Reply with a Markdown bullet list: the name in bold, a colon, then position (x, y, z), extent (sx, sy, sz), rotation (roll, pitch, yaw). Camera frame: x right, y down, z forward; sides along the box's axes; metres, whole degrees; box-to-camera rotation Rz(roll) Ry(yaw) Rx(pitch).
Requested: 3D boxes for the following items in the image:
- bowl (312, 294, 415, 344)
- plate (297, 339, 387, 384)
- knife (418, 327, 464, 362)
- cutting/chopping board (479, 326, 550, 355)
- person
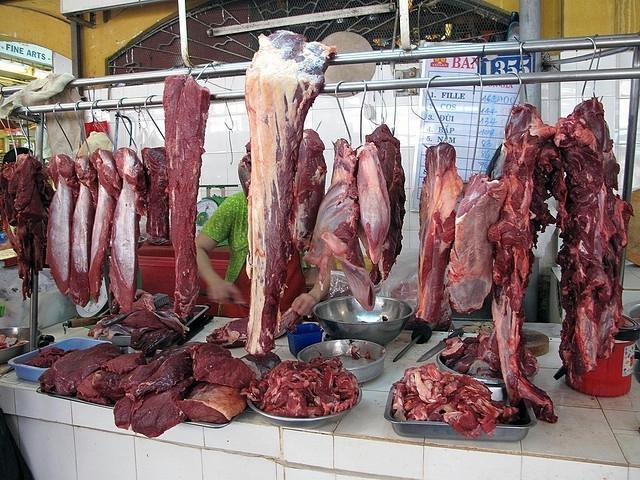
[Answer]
- **bowl**: position (0.249, 0.468, 3.139), extent (0.559, 0.205, 0.444), rotation (-2, 10, -1)
- **plate**: position (0.108, 0.630, 2.822), extent (0.440, 0.169, 0.319), rotation (1, 10, 11)
- **knife**: position (0.708, 0.561, 3.099), extent (0.107, 0.049, 0.651), rotation (19, 20, 29)
- **cutting/chopping board**: position (1.182, 0.548, 3.055), extent (0.258, 0.065, 0.268), rotation (-2, 4, -5)
- **person**: position (-0.325, 0.111, 3.228), extent (0.909, 0.839, 0.444), rotation (1, -1, -2)
